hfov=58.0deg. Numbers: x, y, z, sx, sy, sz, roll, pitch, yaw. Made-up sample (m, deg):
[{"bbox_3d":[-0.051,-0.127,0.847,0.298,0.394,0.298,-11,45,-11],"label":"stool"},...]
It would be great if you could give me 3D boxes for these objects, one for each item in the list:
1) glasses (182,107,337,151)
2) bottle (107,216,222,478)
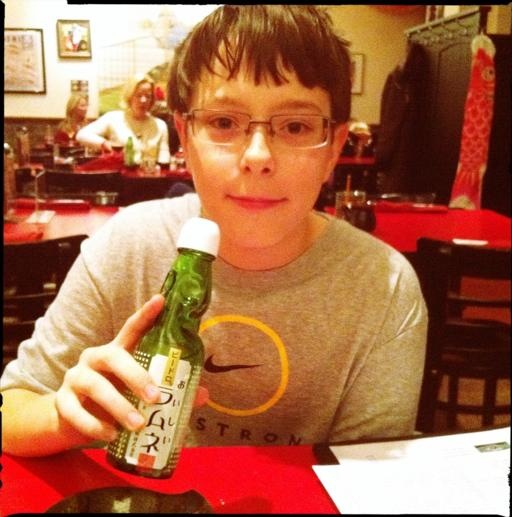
[{"bbox_3d":[0.004,-0.233,0.834,0.254,0.070,0.103,2,13,5],"label":"glasses"},{"bbox_3d":[-0.128,0.114,0.622,0.111,0.331,0.146,7,15,26],"label":"bottle"}]
